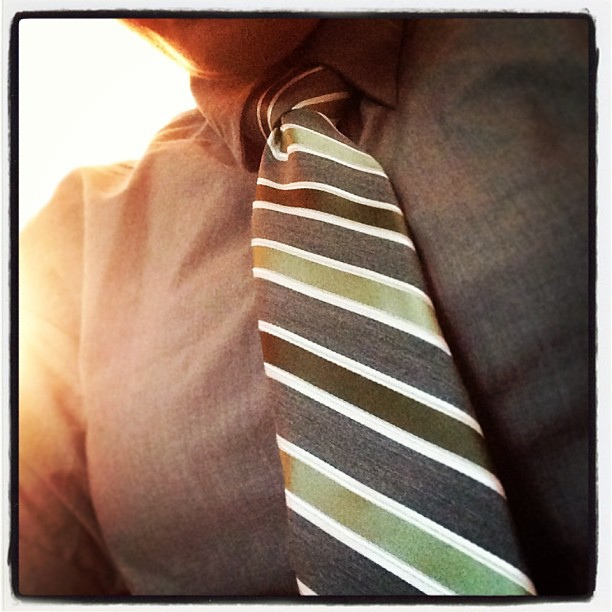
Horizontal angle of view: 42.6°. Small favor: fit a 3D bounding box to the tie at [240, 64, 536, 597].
[{"bbox_3d":[0.045,0.021,0.595,0.137,0.378,0.275,-7,18,-35],"label":"tie"}]
